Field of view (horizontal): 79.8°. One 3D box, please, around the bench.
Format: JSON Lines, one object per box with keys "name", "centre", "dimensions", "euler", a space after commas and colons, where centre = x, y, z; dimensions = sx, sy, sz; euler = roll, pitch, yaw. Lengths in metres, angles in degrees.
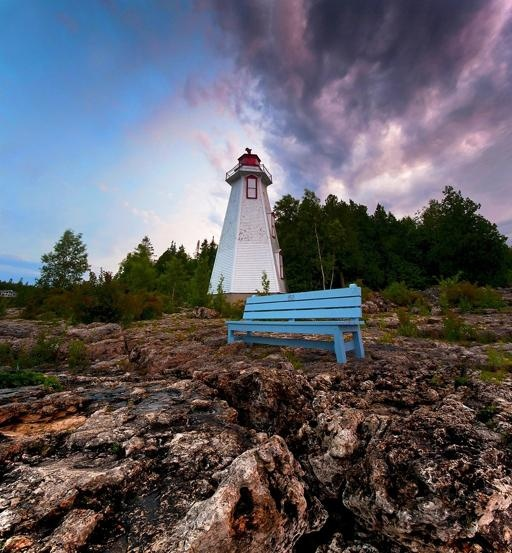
{"name": "bench", "centre": [0.531, 0.888, 5.627], "dimensions": [0.778, 1.131, 2.790], "euler": [6, -10, -45]}
